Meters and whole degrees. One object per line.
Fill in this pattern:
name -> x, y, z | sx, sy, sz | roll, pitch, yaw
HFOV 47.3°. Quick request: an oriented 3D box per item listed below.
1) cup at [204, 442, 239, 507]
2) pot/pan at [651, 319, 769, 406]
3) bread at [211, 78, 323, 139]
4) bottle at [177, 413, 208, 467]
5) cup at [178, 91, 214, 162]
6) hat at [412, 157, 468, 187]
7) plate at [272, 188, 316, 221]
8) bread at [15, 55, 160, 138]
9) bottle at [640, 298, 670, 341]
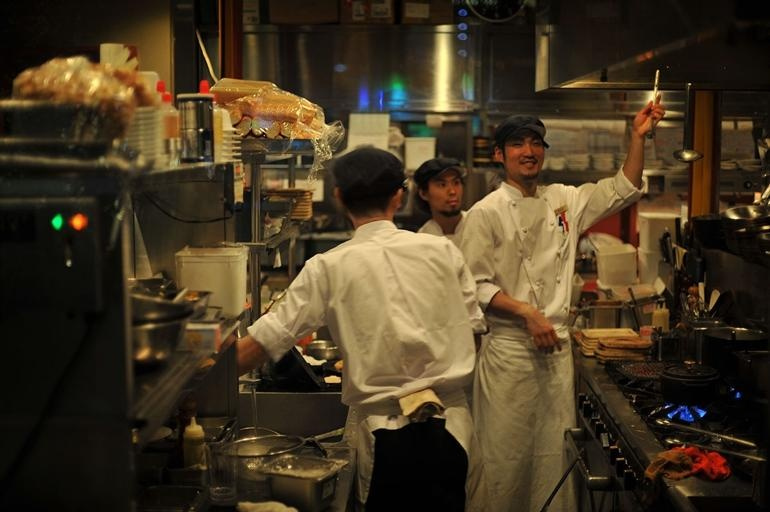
cup -> -0.573, 0.773, 3.095 | 0.102, 0.198, 0.089 | 0, 7, -13
pot/pan -> 1.297, 0.427, 3.697 | 0.285, 0.261, 0.379 | -4, 6, -15
bread -> -0.492, -0.602, 3.635 | 0.363, 0.146, 0.274 | 8, 9, -1
bottle -> -0.697, 0.699, 3.212 | 0.113, 0.219, 0.110 | 1, 12, 0
cup -> -0.642, -0.436, 2.987 | 0.117, 0.232, 0.166 | 0, 7, -14
hat -> 0.277, -0.430, 4.690 | 0.205, 0.078, 0.163 | -25, 1, 11
plate -> -0.479, -0.285, 4.762 | 0.159, 0.143, 0.227 | 1, 3, 12
bread -> -0.917, -0.511, 2.671 | 0.330, 0.154, 0.276 | 9, 5, 13
bottle -> 1.377, 0.322, 4.522 | 0.172, 0.324, 0.187 | -1, 2, 0
